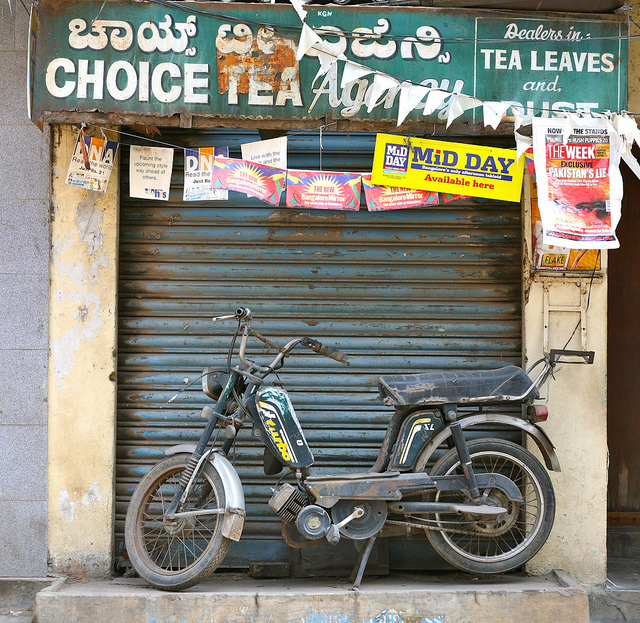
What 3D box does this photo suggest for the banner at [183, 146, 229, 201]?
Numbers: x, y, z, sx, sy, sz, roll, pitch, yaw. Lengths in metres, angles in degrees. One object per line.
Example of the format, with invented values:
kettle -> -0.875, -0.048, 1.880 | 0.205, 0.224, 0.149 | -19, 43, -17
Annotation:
banner -> -0.793, -0.974, 10.232 | 0.366, 0.432, 0.022 | 0, -4, 1

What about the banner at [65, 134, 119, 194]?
banner -> -1.622, -1.066, 10.326 | 0.333, 0.435, 0.019 | 13, -10, -22

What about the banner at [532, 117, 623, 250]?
banner -> 1.781, -0.924, 10.097 | 0.879, 1.212, 0.076 | 1, -11, -9

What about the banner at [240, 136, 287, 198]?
banner -> -0.391, -1.014, 10.222 | 0.433, 0.498, 0.022 | 0, 3, 2

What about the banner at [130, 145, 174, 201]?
banner -> -1.193, -0.996, 10.309 | 0.371, 0.484, 0.054 | 2, -6, 0
